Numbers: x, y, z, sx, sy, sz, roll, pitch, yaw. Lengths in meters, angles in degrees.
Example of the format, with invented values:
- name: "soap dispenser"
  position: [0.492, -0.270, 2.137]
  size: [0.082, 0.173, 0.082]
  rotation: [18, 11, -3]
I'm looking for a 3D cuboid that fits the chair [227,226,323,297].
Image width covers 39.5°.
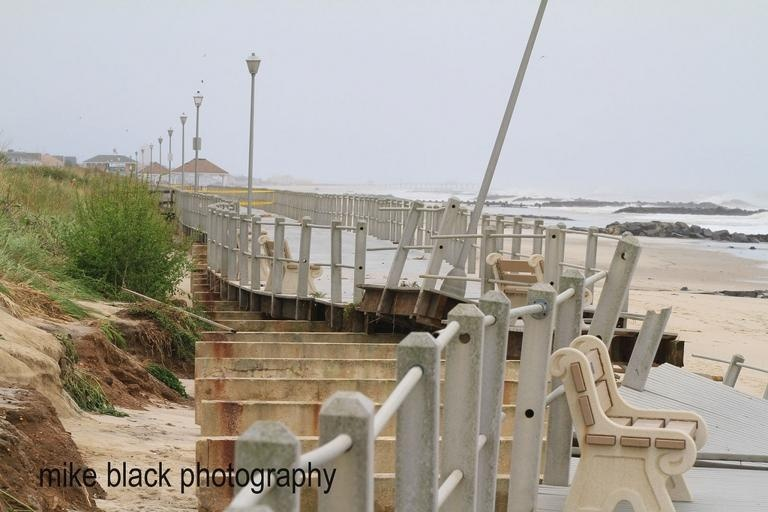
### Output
- name: "chair"
  position: [-1.927, 0.151, 21.885]
  size: [1.246, 1.595, 1.077]
  rotation: [0, 2, -14]

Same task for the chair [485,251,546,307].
- name: "chair"
  position: [2.277, 0.446, 17.984]
  size: [0.736, 1.237, 1.112]
  rotation: [2, 15, 26]
